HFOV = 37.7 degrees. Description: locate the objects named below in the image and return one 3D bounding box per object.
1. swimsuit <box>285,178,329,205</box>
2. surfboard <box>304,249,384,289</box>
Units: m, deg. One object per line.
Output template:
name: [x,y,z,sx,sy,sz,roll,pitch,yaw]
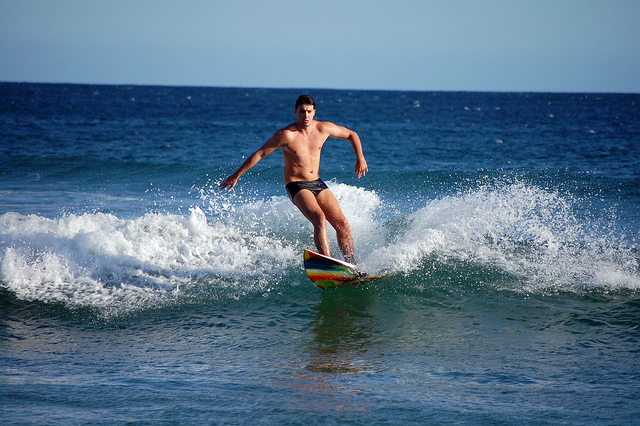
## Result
swimsuit: [-0.314,-0.483,19.800,0.876,0.556,0.487,-9,-24,-29]
surfboard: [0.424,1.257,19.840,2.002,0.482,0.342,18,11,-19]
